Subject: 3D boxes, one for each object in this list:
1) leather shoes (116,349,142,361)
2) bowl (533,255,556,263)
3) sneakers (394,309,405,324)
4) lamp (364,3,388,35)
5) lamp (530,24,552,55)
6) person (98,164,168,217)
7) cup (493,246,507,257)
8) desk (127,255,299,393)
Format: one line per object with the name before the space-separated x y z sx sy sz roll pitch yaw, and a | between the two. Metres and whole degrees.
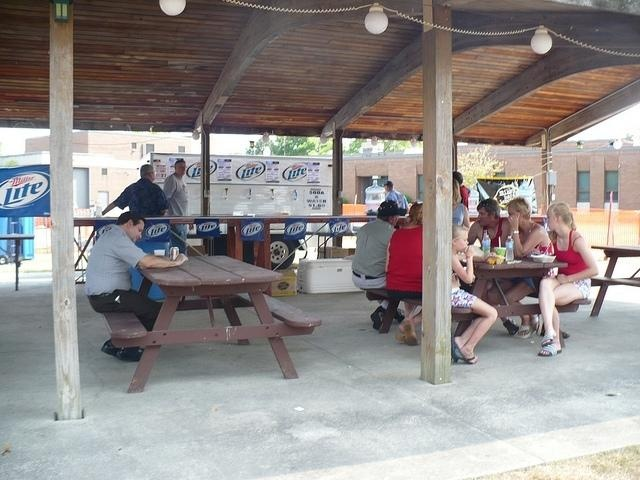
leather shoes | -2.071 1.261 5.841 0.217 0.141 0.157 2 -13 -8
bowl | 2.588 0.226 6.243 0.243 0.093 0.200 3 5 36
sneakers | 1.156 1.128 7.819 0.171 0.224 0.087 7 7 17
lamp | 0.741 -2.990 7.144 0.260 0.380 0.369 1 4 11
lamp | 3.119 -2.838 7.546 0.233 0.389 0.403 2 5 24
person | -3.411 -0.946 10.259 0.863 0.968 0.458 -1 4 -16
cup | 2.104 0.140 6.256 0.128 0.105 0.112 0 4 9
desk | -1.128 0.831 6.049 1.724 1.010 2.185 -1 2 -8
